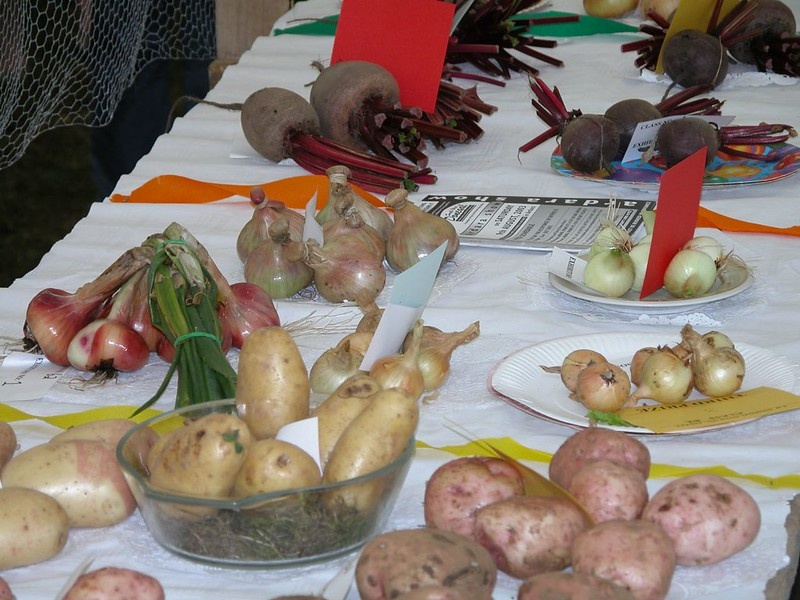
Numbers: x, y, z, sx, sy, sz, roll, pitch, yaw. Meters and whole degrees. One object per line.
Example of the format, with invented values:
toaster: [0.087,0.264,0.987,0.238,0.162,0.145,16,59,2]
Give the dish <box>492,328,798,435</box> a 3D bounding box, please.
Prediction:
dish: [0.271,0.100,0.902,0.245,0.021,0.215,-8,15,-23]
